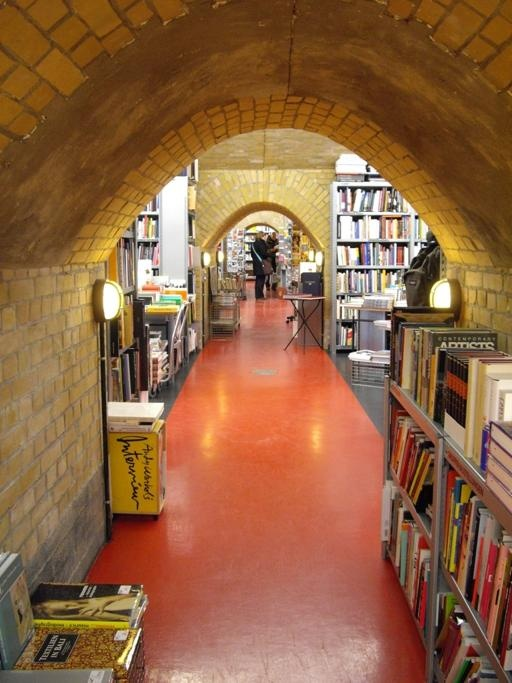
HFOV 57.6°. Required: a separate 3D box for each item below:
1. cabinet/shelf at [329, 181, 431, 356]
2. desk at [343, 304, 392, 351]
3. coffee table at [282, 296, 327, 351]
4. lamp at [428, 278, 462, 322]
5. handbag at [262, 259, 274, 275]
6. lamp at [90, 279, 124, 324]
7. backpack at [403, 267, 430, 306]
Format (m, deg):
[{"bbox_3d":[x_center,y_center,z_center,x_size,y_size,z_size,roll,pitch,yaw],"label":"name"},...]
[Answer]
[{"bbox_3d":[2.443,-1.832,9.629,1.608,3.012,0.722,1,-20,13],"label":"cabinet/shelf"},{"bbox_3d":[2.092,-0.265,8.833,0.757,1.118,1.117,1,3,9],"label":"desk"},{"bbox_3d":[1.028,-0.424,10.568,1.075,1.428,1.067,0,1,-23],"label":"coffee table"},{"bbox_3d":[1.151,-0.251,2.821,0.119,0.328,0.244,-1,7,-14],"label":"lamp"},{"bbox_3d":[0.387,-3.176,19.785,0.196,0.647,0.628,-15,-8,33],"label":"handbag"},{"bbox_3d":[-0.912,-0.256,2.853,0.193,0.252,0.153,-5,7,-28],"label":"lamp"},{"bbox_3d":[1.521,-0.523,4.396,0.160,0.353,0.420,-3,7,-10],"label":"backpack"}]
